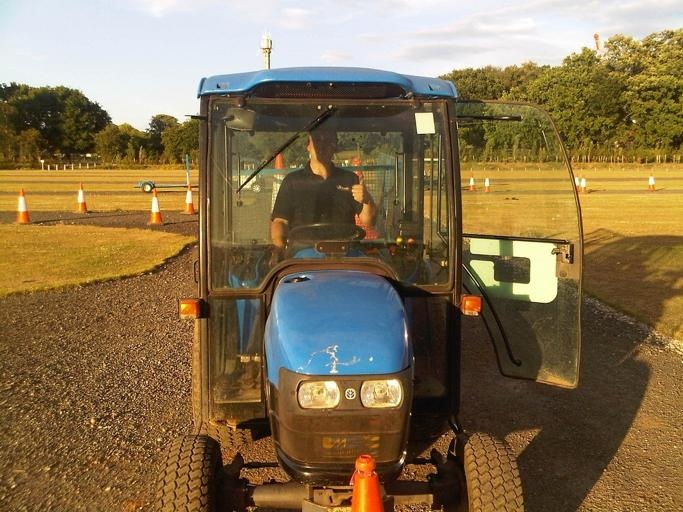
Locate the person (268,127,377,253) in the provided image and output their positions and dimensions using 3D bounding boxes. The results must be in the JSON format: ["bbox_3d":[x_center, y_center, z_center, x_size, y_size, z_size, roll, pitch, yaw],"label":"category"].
[{"bbox_3d":[-0.150,-0.466,4.106,0.668,1.041,0.723,-2,-2,1],"label":"person"}]
